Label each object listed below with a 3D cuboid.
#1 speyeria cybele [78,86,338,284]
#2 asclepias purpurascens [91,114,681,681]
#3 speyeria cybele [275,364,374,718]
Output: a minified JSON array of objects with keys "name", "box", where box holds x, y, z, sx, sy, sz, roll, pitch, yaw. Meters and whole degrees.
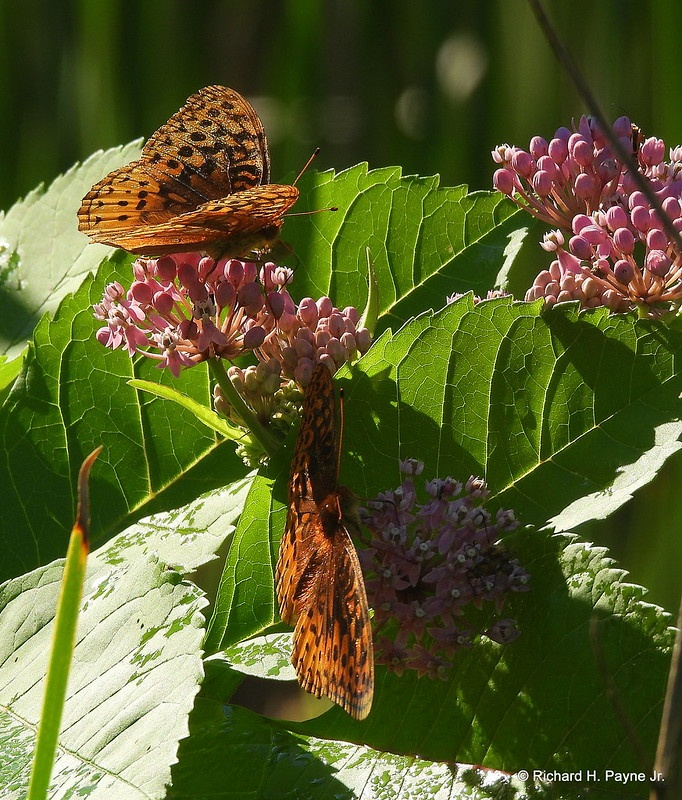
[{"name":"speyeria cybele","box":[-0.142,-0.254,1.400,0.326,0.158,0.279,-8,-7,34]},{"name":"asclepias purpurascens","box":[0.068,-0.040,1.364,0.712,0.675,0.487,1,-3,-14]},{"name":"speyeria cybele","box":[-0.017,0.128,1.087,0.046,0.328,0.226,1,-3,-17]}]
